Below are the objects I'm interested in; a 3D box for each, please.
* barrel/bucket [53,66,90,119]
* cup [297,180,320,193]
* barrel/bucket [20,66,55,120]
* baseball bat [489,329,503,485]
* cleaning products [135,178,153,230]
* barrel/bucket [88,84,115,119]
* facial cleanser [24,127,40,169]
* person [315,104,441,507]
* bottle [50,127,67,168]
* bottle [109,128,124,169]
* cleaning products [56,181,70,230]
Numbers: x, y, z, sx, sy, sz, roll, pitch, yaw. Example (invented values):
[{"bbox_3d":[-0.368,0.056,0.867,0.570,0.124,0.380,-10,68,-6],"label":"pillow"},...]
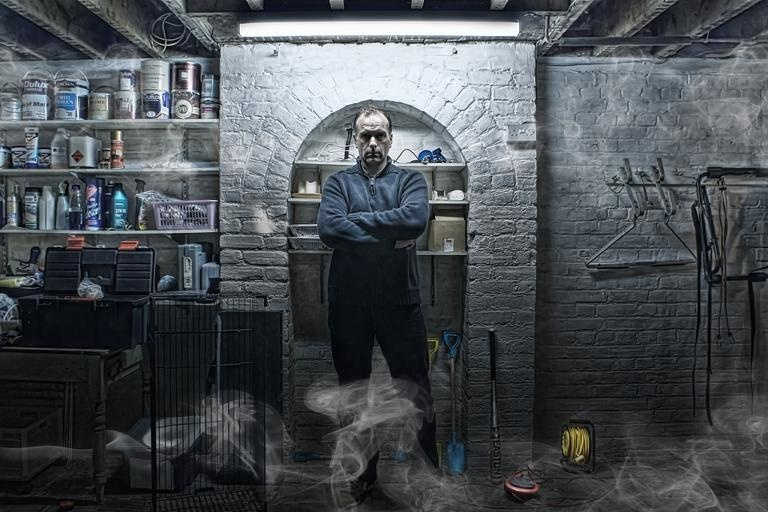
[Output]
[{"bbox_3d":[-2.443,-1.275,5.132,0.275,0.440,0.177,0,-2,-10],"label":"barrel/bucket"},{"bbox_3d":[-0.582,-0.534,5.120,0.123,0.073,0.120,0,-2,0],"label":"cup"},{"bbox_3d":[-2.703,-1.278,5.130,0.228,0.441,0.158,0,-2,-10],"label":"barrel/bucket"},{"bbox_3d":[0.825,1.099,4.966,0.084,1.094,0.171,0,-2,8],"label":"baseball bat"},{"bbox_3d":[-1.908,-0.415,5.183,0.097,0.410,0.160,1,-2,-25],"label":"cleaning products"},{"bbox_3d":[-2.171,-1.207,5.158,0.265,0.246,0.243,0,0,0],"label":"barrel/bucket"},{"bbox_3d":[-2.758,-0.856,5.160,0.096,0.328,0.087,1,-2,-31],"label":"facial cleanser"},{"bbox_3d":[-0.036,0.221,4.668,0.876,2.543,0.451,0,-2,-8],"label":"person"},{"bbox_3d":[-2.515,-0.844,5.109,0.114,0.334,0.122,0,-2,0],"label":"bottle"},{"bbox_3d":[-2.063,-0.833,5.100,0.091,0.312,0.086,0,-2,0],"label":"bottle"},{"bbox_3d":[-2.530,-0.407,5.187,0.097,0.394,0.178,1,-2,-27],"label":"cleaning products"}]
